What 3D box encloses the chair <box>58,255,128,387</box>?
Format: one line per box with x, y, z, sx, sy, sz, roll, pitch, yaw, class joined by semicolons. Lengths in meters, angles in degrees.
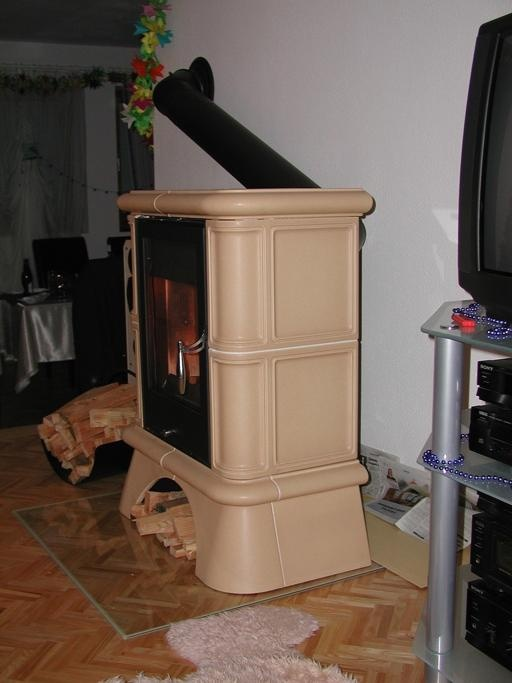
-1.039;-0.115;3.799;0.333;0.874;0.326;-1;3;-12;chair
